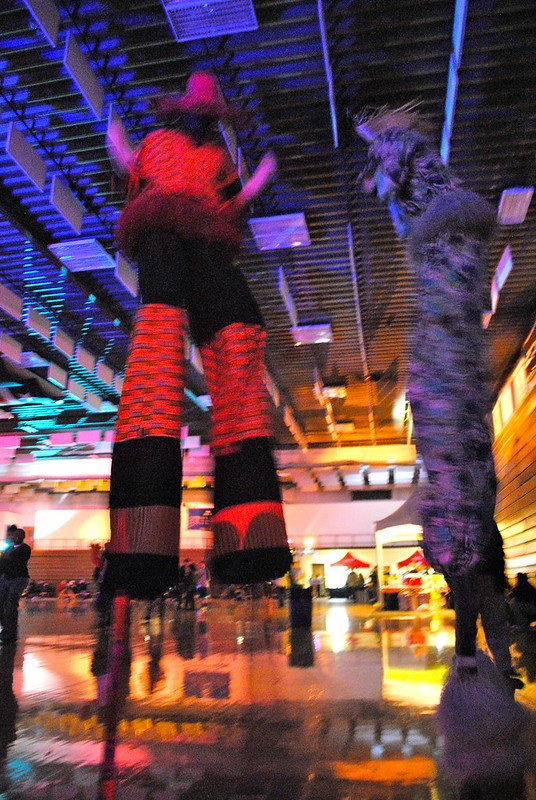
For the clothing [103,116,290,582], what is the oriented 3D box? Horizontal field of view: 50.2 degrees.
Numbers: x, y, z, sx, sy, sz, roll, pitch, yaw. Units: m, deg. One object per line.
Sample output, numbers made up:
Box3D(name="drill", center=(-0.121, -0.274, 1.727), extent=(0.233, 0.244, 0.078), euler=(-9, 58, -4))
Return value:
Box3D(name="clothing", center=(-0.108, -0.113, 0.883), extent=(0.252, 0.787, 0.148), euler=(3, -21, -15))
